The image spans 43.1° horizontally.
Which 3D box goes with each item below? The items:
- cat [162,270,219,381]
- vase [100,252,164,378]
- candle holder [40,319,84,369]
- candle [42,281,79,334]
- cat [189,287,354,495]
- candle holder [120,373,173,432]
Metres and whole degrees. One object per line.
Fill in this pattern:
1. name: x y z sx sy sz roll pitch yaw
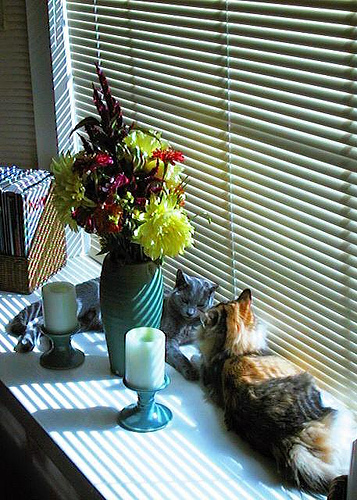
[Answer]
1. cat: 0.015 0.158 1.199 0.152 0.219 0.448 4 4 -8
2. vase: -0.100 0.148 1.007 0.155 0.251 0.157 2 4 44
3. candle holder: -0.268 0.233 1.096 0.087 0.112 0.102 14 29 24
4. candle: -0.263 0.134 1.047 0.071 0.121 0.068 6 15 19
5. cat: 0.150 0.281 0.886 0.173 0.150 0.405 49 9 -37
6. candle holder: -0.059 0.311 0.868 0.066 0.137 0.062 -6 19 -29
